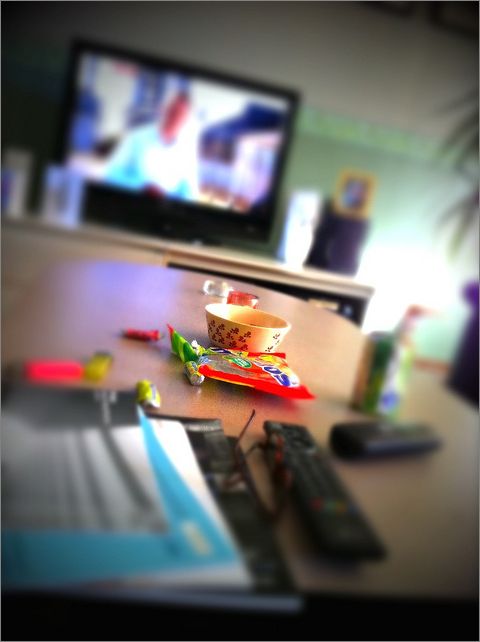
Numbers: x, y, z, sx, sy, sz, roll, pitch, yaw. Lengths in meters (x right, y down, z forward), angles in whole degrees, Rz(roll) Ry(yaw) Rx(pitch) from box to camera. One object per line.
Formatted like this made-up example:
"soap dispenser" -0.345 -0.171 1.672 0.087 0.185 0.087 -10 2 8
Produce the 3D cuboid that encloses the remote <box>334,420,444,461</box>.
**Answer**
"remote" 0.089 0.074 0.333 0.057 0.013 0.028 0 3 -14

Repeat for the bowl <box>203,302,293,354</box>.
"bowl" 0.001 -0.002 0.495 0.060 0.024 0.056 5 14 -1
